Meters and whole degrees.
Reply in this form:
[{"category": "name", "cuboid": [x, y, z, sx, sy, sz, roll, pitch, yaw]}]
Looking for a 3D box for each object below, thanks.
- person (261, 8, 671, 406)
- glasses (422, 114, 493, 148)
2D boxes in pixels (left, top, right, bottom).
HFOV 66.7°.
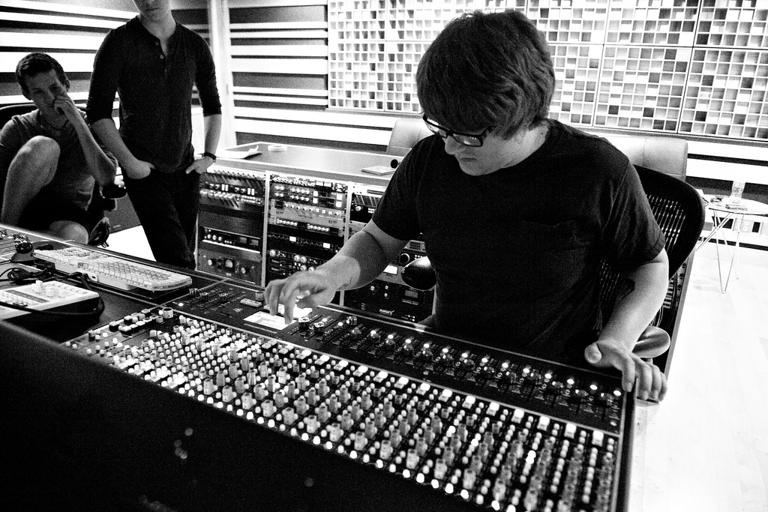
[{"category": "person", "cuboid": [0.460, -0.183, 1.866, 0.924, 1.077, 0.492, 9, 13, 16]}, {"category": "glasses", "cuboid": [0.194, -0.374, 1.765, 0.151, 0.089, 0.242, -4, 16, -34]}]
